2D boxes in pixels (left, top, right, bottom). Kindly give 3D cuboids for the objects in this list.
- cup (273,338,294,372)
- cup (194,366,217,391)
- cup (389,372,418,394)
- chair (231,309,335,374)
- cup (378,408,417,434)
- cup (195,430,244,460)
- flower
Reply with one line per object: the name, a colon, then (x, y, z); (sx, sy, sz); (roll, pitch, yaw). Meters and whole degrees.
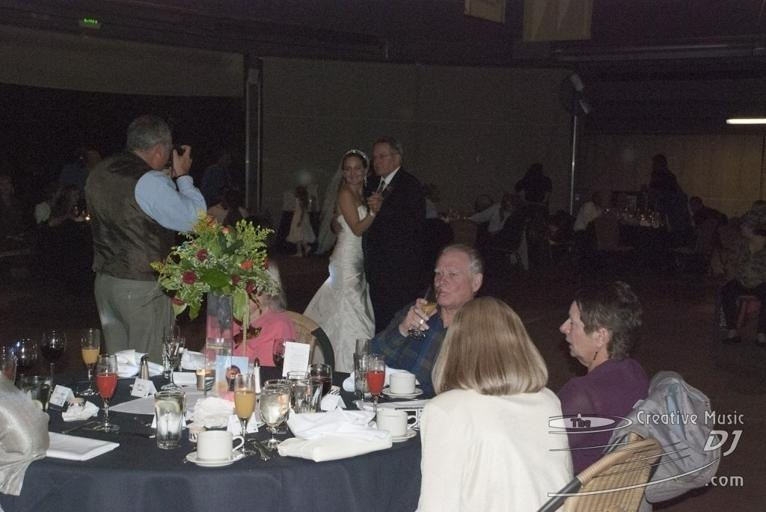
cup: (-0.475, 0.482, 2.895); (0.120, 0.132, 0.117); (1, 0, 0)
cup: (-0.806, 0.551, 2.775); (0.121, 0.120, 0.099); (1, 0, 12)
cup: (0.093, 0.594, 2.876); (0.098, 0.060, 0.098); (0, 4, 0)
chair: (-0.503, 0.435, 3.394); (0.433, 0.536, 0.397); (2, -1, 7)
cup: (0.064, 0.663, 2.454); (0.129, 0.066, 0.095); (8, -10, -31)
cup: (-0.599, 0.669, 2.166); (0.087, 0.067, 0.118); (-2, -8, 11)
flower: (-0.776, 0.055, 2.963); (0.579, 0.578, 0.584); (16, 22, 36)
